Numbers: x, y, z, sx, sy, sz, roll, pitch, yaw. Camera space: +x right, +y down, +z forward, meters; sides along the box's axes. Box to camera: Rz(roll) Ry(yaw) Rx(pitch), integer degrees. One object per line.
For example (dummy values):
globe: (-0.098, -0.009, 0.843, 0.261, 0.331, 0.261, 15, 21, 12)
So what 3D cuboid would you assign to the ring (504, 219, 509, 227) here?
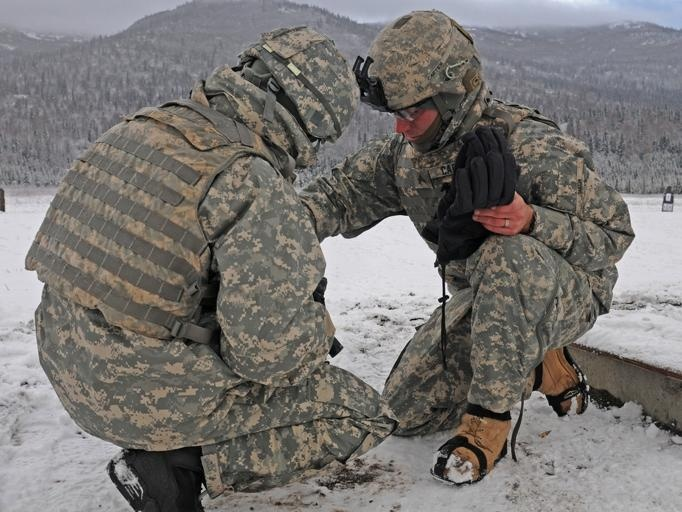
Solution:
ring: (0.956, -0.185, 5.157, 0.035, 0.035, 0.031, 3, 7, -11)

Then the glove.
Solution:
glove: (0.749, -0.323, 5.205, 0.330, 0.713, 0.613, 12, 24, -13)
